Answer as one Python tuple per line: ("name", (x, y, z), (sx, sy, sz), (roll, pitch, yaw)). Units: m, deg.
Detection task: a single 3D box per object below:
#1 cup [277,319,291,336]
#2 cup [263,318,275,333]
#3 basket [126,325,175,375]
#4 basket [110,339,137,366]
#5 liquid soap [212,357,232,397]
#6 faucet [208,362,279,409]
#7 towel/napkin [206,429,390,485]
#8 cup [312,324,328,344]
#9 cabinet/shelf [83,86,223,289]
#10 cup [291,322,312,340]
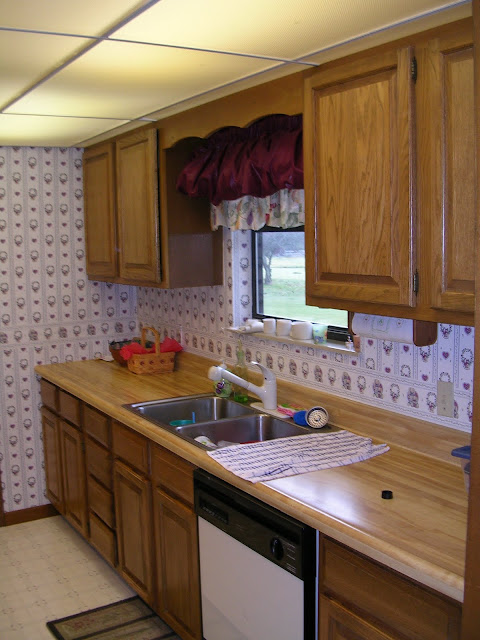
("cup", (0.210, 0.038, 2.471), (0.075, 0.068, 0.059), (2, 2, 19))
("cup", (0.143, 0.027, 2.596), (0.060, 0.068, 0.060), (2, 9, 0))
("basket", (-0.584, 0.195, 3.230), (0.250, 0.269, 0.280), (-6, -5, 34))
("basket", (-0.793, 0.206, 3.450), (0.180, 0.099, 0.181), (2, 4, 19))
("liquid soap", (-0.082, 0.281, 2.489), (0.112, 0.176, 0.098), (18, 30, 38))
("faucet", (0.031, 0.285, 2.246), (0.313, 0.202, 0.110), (-1, 4, -21))
("towel/napkin", (0.205, 0.432, 1.739), (0.599, 0.028, 0.373), (-2, 4, -30))
("cup", (0.347, 0.058, 2.262), (0.078, 0.076, 0.063), (-4, 7, -41))
("cabinet/shelf", (-0.584, -0.623, 3.166), (0.391, 0.876, 1.044), (-6, 10, -36))
("cup", (0.278, 0.049, 2.340), (0.076, 0.066, 0.076), (-1, 15, 0))
